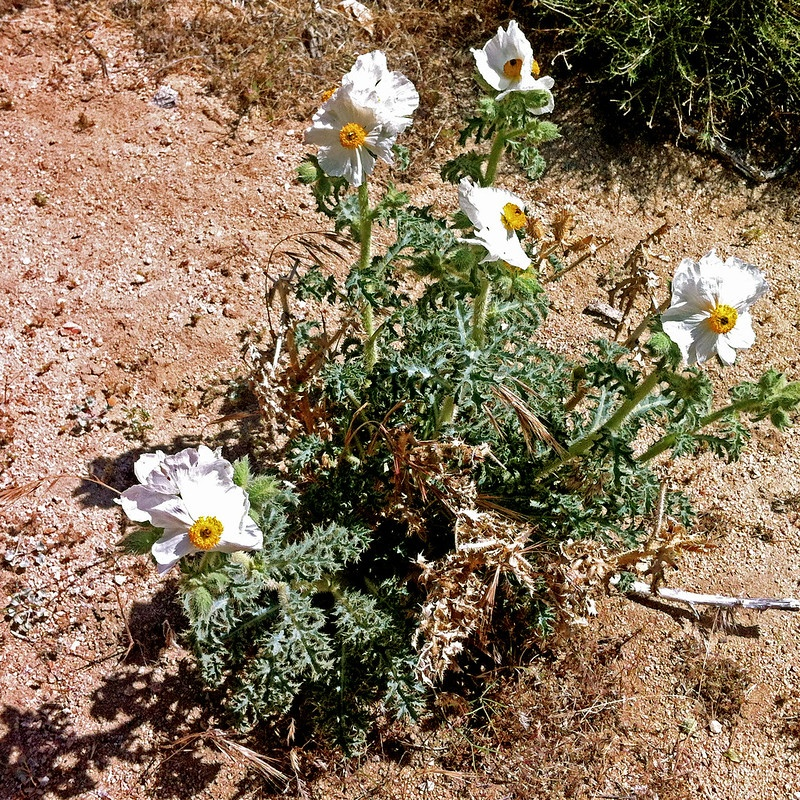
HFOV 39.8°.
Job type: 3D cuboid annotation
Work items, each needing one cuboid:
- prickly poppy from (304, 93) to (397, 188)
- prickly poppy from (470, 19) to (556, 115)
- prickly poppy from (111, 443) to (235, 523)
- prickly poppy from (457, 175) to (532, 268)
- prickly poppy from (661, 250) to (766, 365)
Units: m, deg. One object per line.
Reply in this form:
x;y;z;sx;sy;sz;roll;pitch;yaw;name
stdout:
-0.207;-1.076;4.608;0.385;0.403;0.262;17;51;-4;prickly poppy
0.484;-1.407;4.593;0.373;0.251;0.305;20;51;-2;prickly poppy
-0.885;0.313;4.396;0.373;0.146;0.378;-16;22;-35;prickly poppy
0.379;-0.702;4.520;0.304;0.252;0.376;-4;56;-20;prickly poppy
1.248;-0.398;4.448;0.489;0.452;0.182;-18;70;-28;prickly poppy
